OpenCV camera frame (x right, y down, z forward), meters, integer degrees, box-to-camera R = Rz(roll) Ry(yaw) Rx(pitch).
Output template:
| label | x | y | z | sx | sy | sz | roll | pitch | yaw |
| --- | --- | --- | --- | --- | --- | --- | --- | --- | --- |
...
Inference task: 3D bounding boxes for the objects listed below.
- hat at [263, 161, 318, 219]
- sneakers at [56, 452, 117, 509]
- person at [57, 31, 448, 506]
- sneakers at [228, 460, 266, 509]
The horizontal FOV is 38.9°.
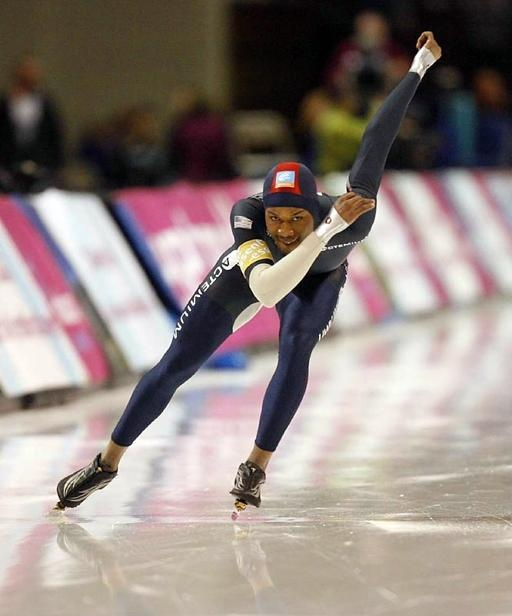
| label | x | y | z | sx | sy | sz | roll | pitch | yaw |
| --- | --- | --- | --- | --- | --- | --- | --- | --- | --- |
| hat | 0.106 | -0.342 | 2.146 | 0.191 | 0.174 | 0.138 | 1 | 74 | 4 |
| sneakers | -0.534 | 0.547 | 2.276 | 0.203 | 0.135 | 0.064 | -24 | 89 | -29 |
| person | -0.056 | 0.001 | 2.269 | 0.684 | 1.389 | 1.165 | 14 | 36 | 14 |
| sneakers | -0.028 | 0.553 | 2.177 | 0.085 | 0.194 | 0.123 | 8 | 36 | 6 |
